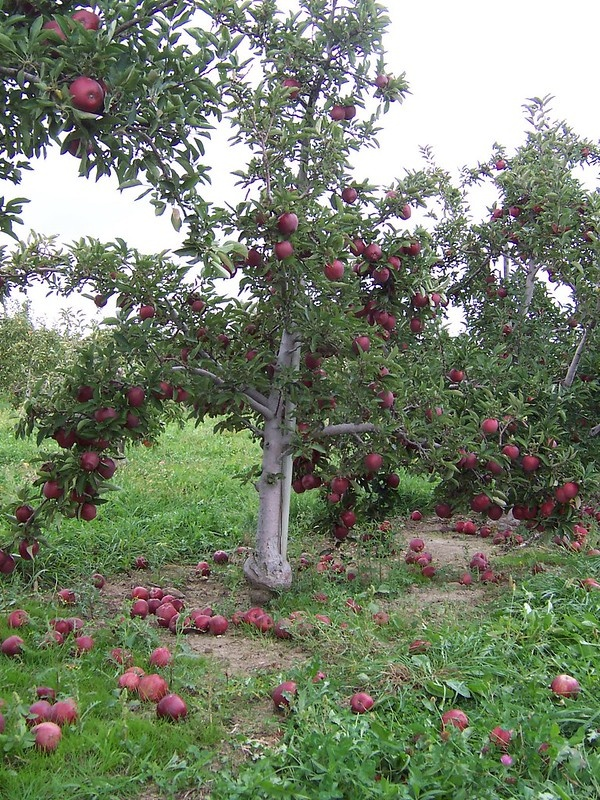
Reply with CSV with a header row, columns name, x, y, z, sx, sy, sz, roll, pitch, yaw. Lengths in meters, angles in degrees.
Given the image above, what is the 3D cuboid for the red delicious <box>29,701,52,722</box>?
name,x,y,z,sx,sy,sz,roll,pitch,yaw
red delicious,-1.074,1.292,2.854,0.086,0.081,0.105,9,-4,-19

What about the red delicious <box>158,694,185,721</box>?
name,x,y,z,sx,sy,sz,roll,pitch,yaw
red delicious,-0.550,1.326,3.002,0.109,0.095,0.098,7,11,12

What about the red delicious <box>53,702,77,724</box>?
name,x,y,z,sx,sy,sz,roll,pitch,yaw
red delicious,-0.967,1.283,2.826,0.087,0.075,0.093,-14,4,-15

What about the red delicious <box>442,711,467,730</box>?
name,x,y,z,sx,sy,sz,roll,pitch,yaw
red delicious,0.626,1.283,2.775,0.075,0.081,0.071,18,-36,-25

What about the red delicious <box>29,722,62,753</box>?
name,x,y,z,sx,sy,sz,roll,pitch,yaw
red delicious,-0.991,1.297,2.693,0.113,0.091,0.095,28,-6,46

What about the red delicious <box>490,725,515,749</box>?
name,x,y,z,sx,sy,sz,roll,pitch,yaw
red delicious,0.778,1.298,2.658,0.074,0.071,0.083,-33,19,9
